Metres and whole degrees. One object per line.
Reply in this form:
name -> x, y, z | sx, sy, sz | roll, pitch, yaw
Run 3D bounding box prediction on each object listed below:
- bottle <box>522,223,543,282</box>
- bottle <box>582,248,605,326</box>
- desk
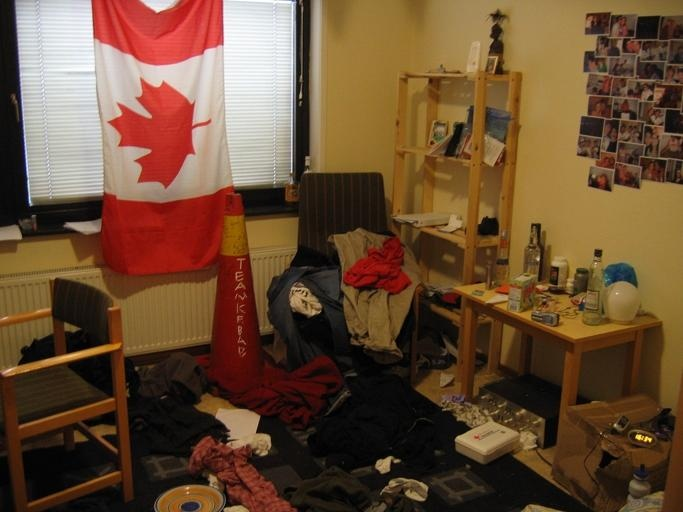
bottle -> 1.230, -0.025, 3.577 | 0.118, 0.378, 0.255 | 4, 16, 21
bottle -> 1.430, 0.153, 3.139 | 0.099, 0.344, 0.412 | 5, 16, 24
desk -> 1.252, 0.600, 3.423 | 0.699, 0.760, 1.014 | -9, 17, -25
